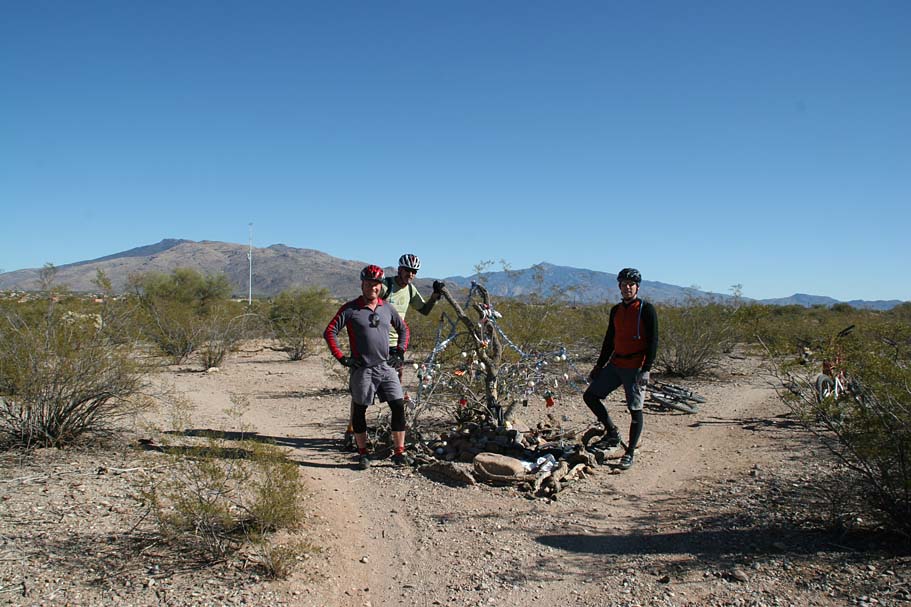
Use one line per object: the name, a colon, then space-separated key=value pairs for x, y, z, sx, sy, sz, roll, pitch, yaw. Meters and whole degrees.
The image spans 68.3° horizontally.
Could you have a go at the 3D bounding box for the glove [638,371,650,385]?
glove: x=2.505 y=0.994 z=8.953 sx=0.141 sy=0.195 sz=0.200 roll=5 pitch=-20 yaw=-9

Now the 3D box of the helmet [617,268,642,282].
helmet: x=2.240 y=-0.362 z=8.710 sx=0.276 sy=0.236 sz=0.443 roll=2 pitch=12 yaw=10

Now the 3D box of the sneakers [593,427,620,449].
sneakers: x=2.031 y=1.891 z=9.337 sx=0.499 sy=0.237 sz=0.170 roll=-3 pitch=-8 yaw=-9

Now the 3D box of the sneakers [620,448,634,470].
sneakers: x=2.296 y=2.063 z=9.014 sx=0.113 sy=0.220 sz=0.410 roll=8 pitch=14 yaw=33

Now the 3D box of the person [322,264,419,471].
person: x=-1.147 y=0.815 z=8.860 sx=1.040 sy=2.637 sz=0.568 roll=-2 pitch=12 yaw=-10

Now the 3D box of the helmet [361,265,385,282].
helmet: x=-1.070 y=-0.392 z=8.591 sx=0.263 sy=0.277 sz=0.652 roll=-2 pitch=12 yaw=-8

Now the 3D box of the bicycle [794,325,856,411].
bicycle: x=5.925 y=0.937 z=10.751 sx=0.790 sy=1.126 sz=0.834 roll=-20 pitch=15 yaw=-40

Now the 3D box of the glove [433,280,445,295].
glove: x=-0.244 y=-0.235 z=9.337 sx=0.149 sy=0.167 sz=0.185 roll=0 pitch=12 yaw=-3
